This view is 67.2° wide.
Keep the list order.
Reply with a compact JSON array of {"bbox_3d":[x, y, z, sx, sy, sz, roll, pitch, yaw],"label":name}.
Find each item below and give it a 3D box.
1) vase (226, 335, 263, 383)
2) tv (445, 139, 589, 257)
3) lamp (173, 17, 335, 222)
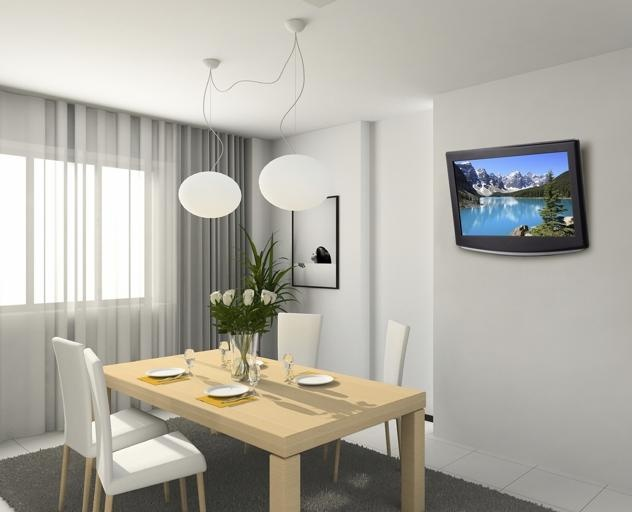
[{"bbox_3d":[-0.504,0.679,3.335,0.178,0.298,0.172,1,5,-15],"label":"vase"},{"bbox_3d":[1.670,-0.476,3.835,0.940,0.851,0.096,-3,4,37],"label":"tv"},{"bbox_3d":[-0.470,-0.914,3.387,1.221,1.299,0.433,-3,-2,32],"label":"lamp"}]
